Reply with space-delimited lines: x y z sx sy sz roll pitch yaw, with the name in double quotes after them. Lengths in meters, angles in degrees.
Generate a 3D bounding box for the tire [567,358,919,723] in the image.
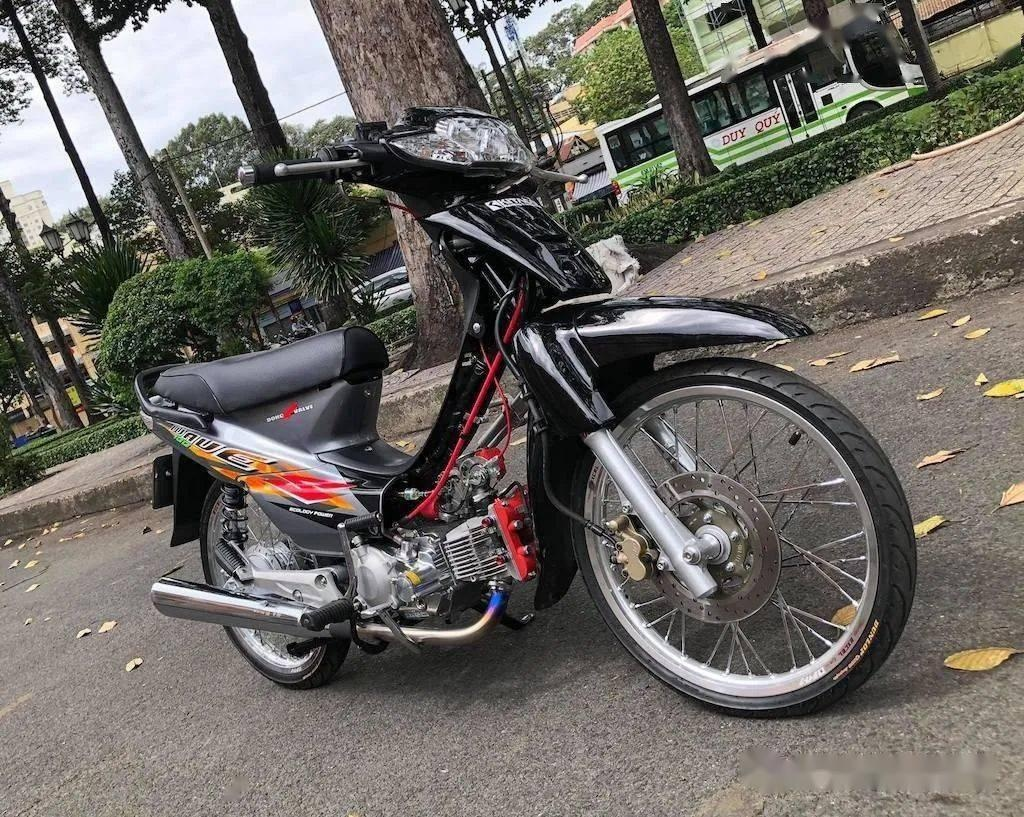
0.728 0.471 2.645 1.001 0.969 0.283 26 20 26 "tire"

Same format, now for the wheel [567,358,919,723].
0.728 0.471 2.645 1.001 0.969 0.283 26 20 26 "wheel"
